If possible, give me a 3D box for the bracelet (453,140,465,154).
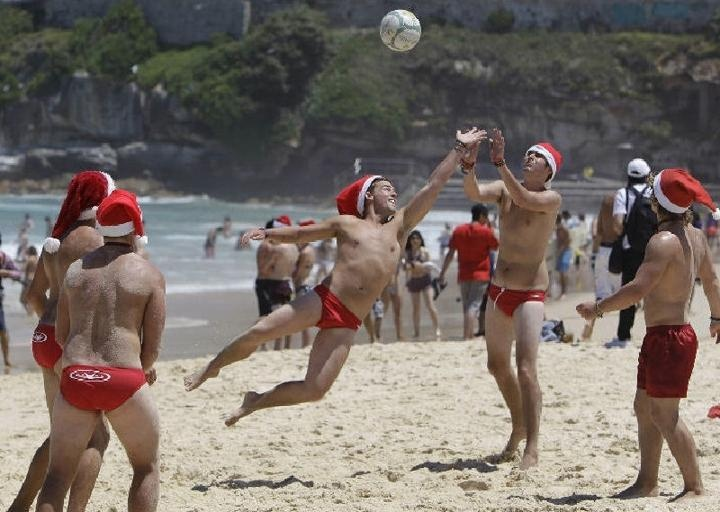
[{"bbox_3d":[3.521,-3.773,53.015,0.327,0.324,0.346,15,-1,2],"label":"bracelet"}]

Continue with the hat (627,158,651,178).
[{"bbox_3d":[10.285,-3.167,55.650,0.758,0.475,0.616,5,22,18],"label":"hat"}]
